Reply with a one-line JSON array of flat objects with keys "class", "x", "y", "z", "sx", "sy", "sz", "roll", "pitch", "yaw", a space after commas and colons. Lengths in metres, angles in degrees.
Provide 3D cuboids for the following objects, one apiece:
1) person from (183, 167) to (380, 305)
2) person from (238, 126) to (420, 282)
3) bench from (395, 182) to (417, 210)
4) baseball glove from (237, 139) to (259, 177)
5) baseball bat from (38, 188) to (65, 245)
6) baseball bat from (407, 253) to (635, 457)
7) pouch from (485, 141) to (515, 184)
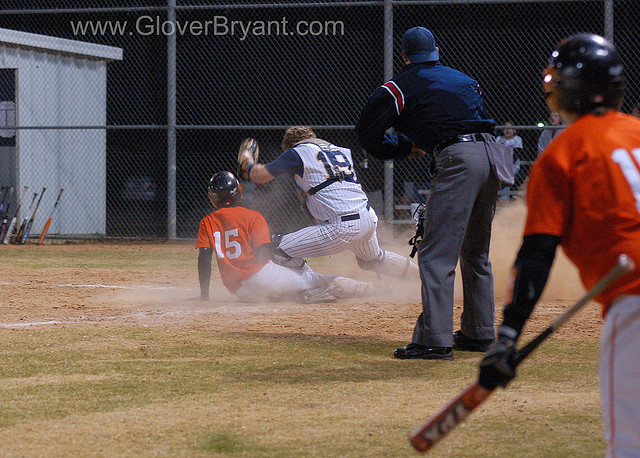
[{"class": "person", "x": -0.248, "y": 0.094, "z": 7.972, "sx": 1.763, "sy": 0.995, "sz": 0.698, "roll": 2, "pitch": -3, "yaw": -23}, {"class": "person", "x": 0.146, "y": -0.193, "z": 7.921, "sx": 2.188, "sy": 1.206, "sz": 0.853, "roll": 4, "pitch": 7, "yaw": -16}, {"class": "bench", "x": 1.280, "y": -0.477, "z": 13.547, "sx": 0.114, "sy": 0.375, "sz": 0.444, "roll": 15, "pitch": 3, "yaw": -4}, {"class": "baseball glove", "x": -0.545, "y": -0.554, "z": 7.248, "sx": 0.187, "sy": 0.253, "sz": 0.074, "roll": 20, "pitch": -11, "yaw": 23}, {"class": "baseball bat", "x": -4.022, "y": -0.222, "z": 13.789, "sx": 0.165, "sy": 0.951, "sz": 0.053, "roll": 29, "pitch": -27, "yaw": -12}, {"class": "baseball bat", "x": 0.997, "y": 0.653, "z": 4.666, "sx": 0.119, "sy": 1.335, "sz": 0.150, "roll": 49, "pitch": -5, "yaw": 20}, {"class": "pouch", "x": 1.040, "y": -0.406, "z": 5.646, "sx": 0.265, "sy": 0.217, "sz": 0.099, "roll": 0, "pitch": -12, "yaw": -40}]
